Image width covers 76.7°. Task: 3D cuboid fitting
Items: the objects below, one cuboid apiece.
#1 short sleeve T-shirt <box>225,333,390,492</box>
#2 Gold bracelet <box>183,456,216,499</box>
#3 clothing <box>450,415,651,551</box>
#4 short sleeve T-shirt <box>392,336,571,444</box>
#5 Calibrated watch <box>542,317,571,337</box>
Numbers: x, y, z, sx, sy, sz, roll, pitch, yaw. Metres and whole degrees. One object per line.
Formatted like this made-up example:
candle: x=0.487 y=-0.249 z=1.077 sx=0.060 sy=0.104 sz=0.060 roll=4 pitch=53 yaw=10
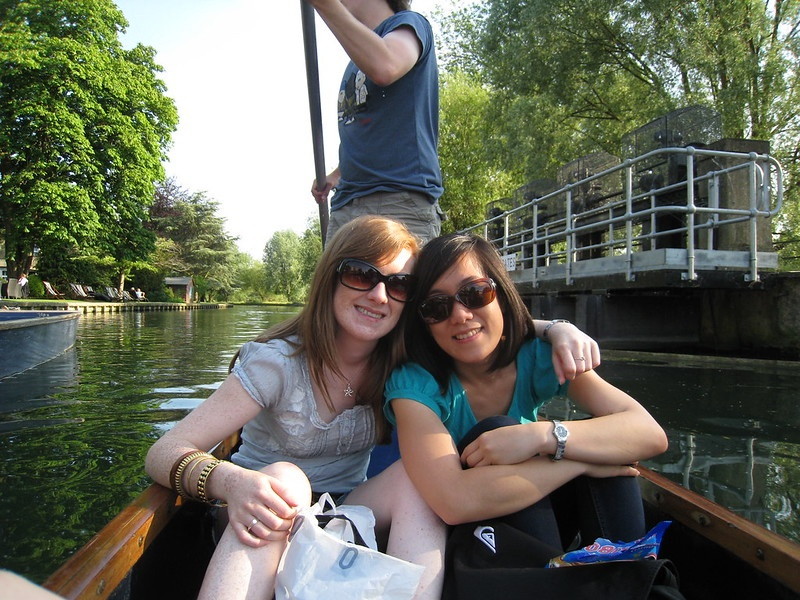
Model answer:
short sleeve T-shirt: x=-0.355 y=0.426 z=1.954 sx=0.497 sy=0.524 sz=0.290 roll=15 pitch=-5 yaw=-44
Gold bracelet: x=-0.674 y=0.590 z=1.690 sx=0.041 sy=0.119 sz=0.122 roll=5 pitch=21 yaw=20
clothing: x=0.540 y=0.702 z=1.793 sx=0.611 sy=0.504 sz=0.245 roll=0 pitch=2 yaw=-42
short sleeve T-shirt: x=0.313 y=0.492 z=2.129 sx=0.551 sy=0.573 sz=0.423 roll=-8 pitch=-13 yaw=-23
Calibrated watch: x=0.832 y=0.137 z=2.687 sx=0.139 sy=0.146 sz=0.091 roll=-1 pitch=7 yaw=-33
